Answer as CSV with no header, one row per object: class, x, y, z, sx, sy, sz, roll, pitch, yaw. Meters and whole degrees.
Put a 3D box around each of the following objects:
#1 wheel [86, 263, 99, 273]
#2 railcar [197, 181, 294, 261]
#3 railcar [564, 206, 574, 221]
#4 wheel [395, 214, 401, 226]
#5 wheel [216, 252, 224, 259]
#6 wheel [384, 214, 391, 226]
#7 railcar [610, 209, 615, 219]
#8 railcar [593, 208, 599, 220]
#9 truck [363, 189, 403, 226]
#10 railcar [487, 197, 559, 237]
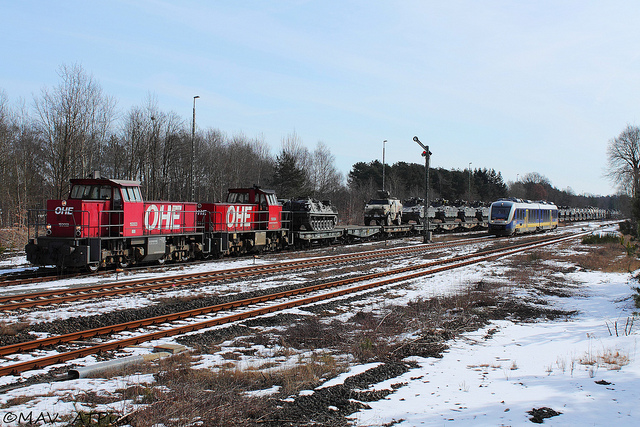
wheel,-9.760,2.274,22.907,0.421,0.484,0.556,-2,9,-25
railcar,-4.492,0.549,32.316,2.687,3.818,7.641,-3,-1,30
railcar,42.101,-0.033,90.172,0.612,2.222,2.087,-3,6,31
wheel,6.950,0.520,47.671,0.270,0.914,0.862,2,-2,24
wheel,-5.490,2.257,29.444,0.357,0.159,0.509,0,-1,-2
wheel,5.778,0.505,45.652,0.280,0.965,0.910,-1,1,24
railcar,79.510,0.064,145.167,0.524,2.251,2.136,-3,-6,15
railcar,61.188,-0.169,118.186,1.006,2.520,5.000,6,9,28
truck,5.733,-0.540,47.370,2.296,3.125,5.004,0,0,25
railcar,20.931,0.247,53.291,2.733,3.690,12.790,-1,-1,44
